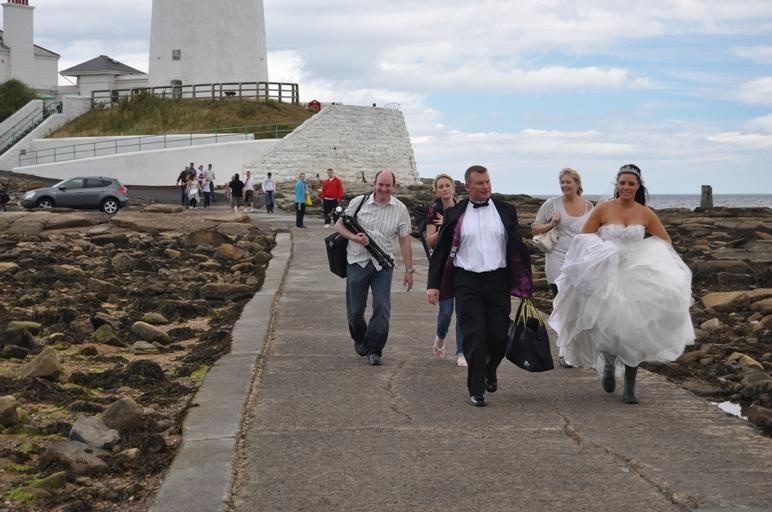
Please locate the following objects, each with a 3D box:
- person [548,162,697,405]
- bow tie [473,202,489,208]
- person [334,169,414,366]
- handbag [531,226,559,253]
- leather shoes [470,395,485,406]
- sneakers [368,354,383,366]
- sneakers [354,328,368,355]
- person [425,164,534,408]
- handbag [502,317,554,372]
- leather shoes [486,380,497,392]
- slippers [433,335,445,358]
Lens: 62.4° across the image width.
[{"bbox_3d":[2.657,0.307,7.181,1.492,2.624,0.885,4,12,23],"label":"person"},{"bbox_3d":[1.074,-0.593,7.306,0.098,0.080,0.032,-4,-8,3],"label":"bow tie"},{"bbox_3d":[-0.167,0.141,8.574,1.022,2.570,0.946,-1,11,0],"label":"person"},{"bbox_3d":[2.249,-0.216,9.010,0.361,0.353,0.154,41,-1,14],"label":"handbag"},{"bbox_3d":[1.003,1.582,6.970,0.166,0.104,0.100,0,10,-1],"label":"leather shoes"},{"bbox_3d":[-0.155,1.362,8.399,0.127,0.100,0.240,0,-12,-4],"label":"sneakers"},{"bbox_3d":[-0.364,1.167,8.730,0.158,0.389,0.294,-7,10,-10],"label":"sneakers"},{"bbox_3d":[1.031,0.316,7.337,1.405,2.518,1.166,-2,3,-11],"label":"person"},{"bbox_3d":[1.618,0.993,7.229,0.508,0.586,0.299,2,11,12],"label":"handbag"},{"bbox_3d":[1.228,1.523,7.506,0.109,0.162,0.114,-4,28,6],"label":"leather shoes"},{"bbox_3d":[0.728,1.254,8.802,0.147,0.317,0.090,-1,11,-5],"label":"slippers"}]
